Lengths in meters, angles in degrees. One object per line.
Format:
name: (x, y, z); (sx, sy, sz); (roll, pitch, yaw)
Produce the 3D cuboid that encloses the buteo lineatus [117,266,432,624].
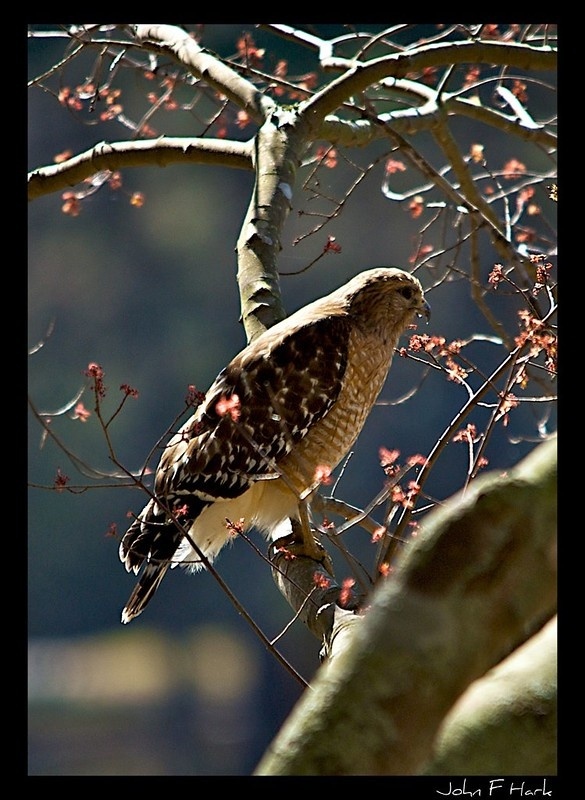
buteo lineatus: (-0.113, 0.242, 3.890); (0.667, 1.012, 1.227); (11, 32, 21)
